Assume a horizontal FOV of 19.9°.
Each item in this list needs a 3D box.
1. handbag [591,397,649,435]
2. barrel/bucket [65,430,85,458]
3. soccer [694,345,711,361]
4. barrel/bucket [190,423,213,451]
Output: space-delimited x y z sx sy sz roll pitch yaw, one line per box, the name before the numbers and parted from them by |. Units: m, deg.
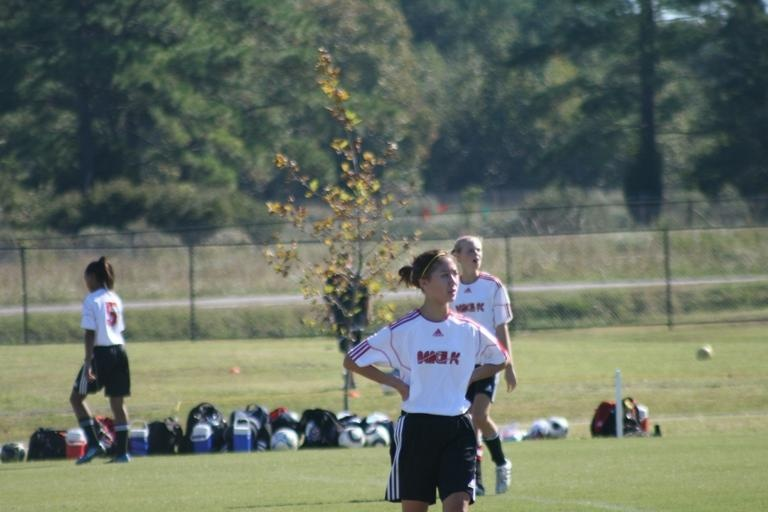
handbag | 8.016 5.398 74.512 1.934 1.290 0.384 -4 -5 2
barrel/bucket | -10.507 6.269 74.246 0.727 0.902 0.952 4 -7 -30
soccer | 11.812 3.404 80.479 0.514 0.503 0.575 34 21 16
barrel/bucket | -6.224 6.098 74.359 0.874 1.104 0.847 0 2 0
